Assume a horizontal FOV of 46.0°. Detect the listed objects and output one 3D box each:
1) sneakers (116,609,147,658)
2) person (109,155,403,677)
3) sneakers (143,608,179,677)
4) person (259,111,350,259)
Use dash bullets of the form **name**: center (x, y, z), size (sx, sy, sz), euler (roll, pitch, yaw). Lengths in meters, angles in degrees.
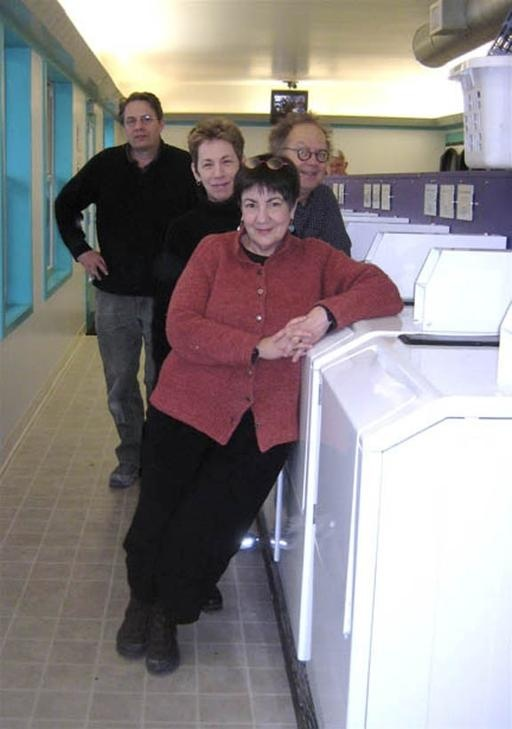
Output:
- **sneakers**: center (-0.353, 0.746, 1.695), size (0.063, 0.068, 0.159), euler (9, -4, -10)
- **person**: center (-0.027, 0.163, 1.570), size (0.639, 1.379, 0.348), euler (2, 10, -9)
- **sneakers**: center (-0.257, 0.752, 1.613), size (0.069, 0.085, 0.196), euler (3, -8, -9)
- **person**: center (0.160, -0.486, 2.115), size (0.282, 0.736, 0.237), euler (-1, 15, 12)
